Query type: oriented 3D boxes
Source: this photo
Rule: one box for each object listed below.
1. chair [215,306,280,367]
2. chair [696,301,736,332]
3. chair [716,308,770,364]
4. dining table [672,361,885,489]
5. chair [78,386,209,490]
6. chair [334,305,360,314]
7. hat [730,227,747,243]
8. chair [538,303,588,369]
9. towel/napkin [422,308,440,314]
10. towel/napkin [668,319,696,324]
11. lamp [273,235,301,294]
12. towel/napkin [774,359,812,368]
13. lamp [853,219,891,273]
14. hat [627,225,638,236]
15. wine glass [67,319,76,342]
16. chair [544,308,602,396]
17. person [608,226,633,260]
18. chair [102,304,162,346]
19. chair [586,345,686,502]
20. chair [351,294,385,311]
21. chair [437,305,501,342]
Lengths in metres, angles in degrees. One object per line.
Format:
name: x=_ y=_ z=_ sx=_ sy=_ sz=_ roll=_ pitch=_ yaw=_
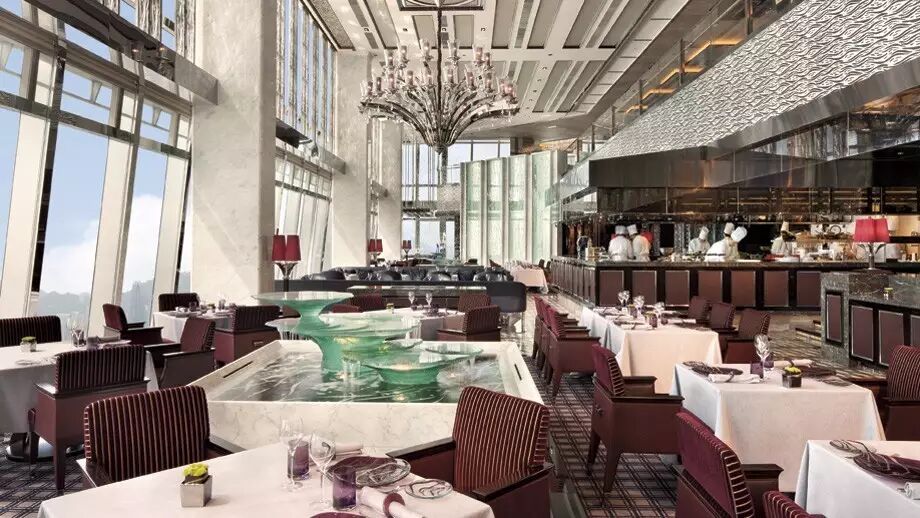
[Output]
chair: x=-3.519 y=1.177 z=9.019 sx=0.976 sy=0.999 sz=0.823 roll=9 pitch=5 yaw=32
chair: x=4.275 y=0.946 z=9.346 sx=0.559 sy=0.650 sz=0.531 roll=2 pitch=-2 yaw=-7
chair: x=4.131 y=1.258 z=8.430 sx=0.755 sy=0.892 sz=0.726 roll=-2 pitch=4 yaw=0
dining table: x=3.515 y=1.981 z=6.711 sx=2.319 sy=1.003 sz=1.700 roll=2 pitch=-8 yaw=-8
chair: x=-3.045 y=1.615 z=5.602 sx=0.912 sy=1.129 sz=0.952 roll=1 pitch=-4 yaw=-33
chair: x=-1.752 y=0.774 z=8.564 sx=0.184 sy=0.146 sz=0.172 roll=4 pitch=-9 yaw=-36
hat: x=7.533 y=-0.711 z=15.268 sx=0.312 sy=0.306 sz=0.328 roll=27 pitch=-25 yaw=21
chair: x=1.605 y=1.228 z=8.867 sx=0.466 sy=0.639 sz=1.174 roll=0 pitch=1 yaw=-2
towel/napkin: x=-0.467 y=0.839 z=9.269 sx=0.252 sy=0.112 sz=0.459 roll=-3 pitch=0 yaw=-2
towel/napkin: x=3.367 y=0.946 z=8.592 sx=0.192 sy=0.047 sz=0.210 roll=0 pitch=0 yaw=42
lamp: x=-3.396 y=0.042 z=11.005 sx=0.482 sy=1.109 sz=0.541 roll=-4 pitch=0 yaw=-18
towel/napkin: x=3.926 y=1.222 z=6.652 sx=0.225 sy=0.049 sz=0.222 roll=1 pitch=-2 yaw=-11
lamp: x=7.771 y=-0.320 z=10.687 sx=0.436 sy=0.884 sz=3.027 roll=-3 pitch=0 yaw=35
hat: x=5.022 y=-0.855 z=16.509 sx=0.287 sy=0.294 sz=0.356 roll=-6 pitch=-11 yaw=29
wine glass: x=-4.937 y=0.920 z=7.183 sx=0.148 sy=0.313 sz=0.076 roll=-3 pitch=0 yaw=35
chair: x=1.759 y=1.404 z=8.748 sx=0.891 sy=1.209 sz=0.924 roll=3 pitch=4 yaw=-5
person: x=4.611 y=-0.537 z=16.202 sx=0.664 sy=0.982 sz=1.644 roll=-3 pitch=0 yaw=15
chair: x=-4.899 y=1.032 z=8.433 sx=0.736 sy=0.835 sz=0.683 roll=-1 pitch=2 yaw=-29
chair: x=1.970 y=1.802 z=6.465 sx=1.068 sy=1.639 sz=0.479 roll=-3 pitch=0 yaw=10
chair: x=-1.592 y=0.721 z=9.662 sx=0.545 sy=0.288 sz=0.304 roll=-3 pitch=0 yaw=-21
chair: x=0.135 y=1.168 z=8.945 sx=0.664 sy=0.781 sz=0.909 roll=1 pitch=0 yaw=39
